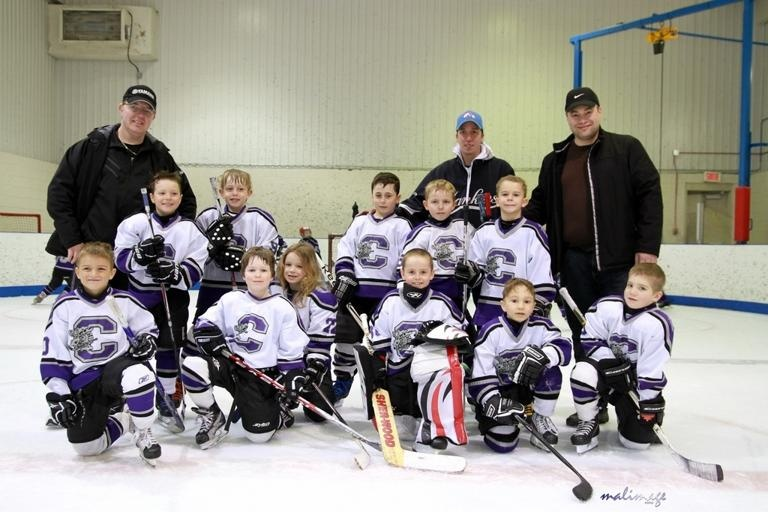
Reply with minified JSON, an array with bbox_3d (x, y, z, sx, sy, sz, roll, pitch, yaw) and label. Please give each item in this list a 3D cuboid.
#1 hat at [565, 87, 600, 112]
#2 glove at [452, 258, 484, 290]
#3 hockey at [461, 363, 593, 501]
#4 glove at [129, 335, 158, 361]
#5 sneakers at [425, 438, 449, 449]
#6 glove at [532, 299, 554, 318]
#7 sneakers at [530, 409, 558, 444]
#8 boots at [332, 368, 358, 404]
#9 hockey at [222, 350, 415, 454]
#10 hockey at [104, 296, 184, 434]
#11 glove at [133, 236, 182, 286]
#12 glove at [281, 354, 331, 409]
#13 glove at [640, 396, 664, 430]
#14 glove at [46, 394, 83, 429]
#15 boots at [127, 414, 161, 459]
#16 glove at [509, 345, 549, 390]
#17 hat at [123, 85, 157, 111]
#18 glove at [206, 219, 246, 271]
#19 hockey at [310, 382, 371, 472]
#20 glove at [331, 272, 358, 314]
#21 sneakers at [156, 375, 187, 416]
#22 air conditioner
[{"bbox_3d":[1.608,-1.259,5.624,0.254,0.185,0.301,4,15,15],"label":"hat"},{"bbox_3d":[0.658,0.140,5.435,0.166,0.241,0.260,12,18,38],"label":"glove"},{"bbox_3d":[1.061,1.283,4.928,0.219,0.206,1.094,2,16,-23],"label":"hockey"},{"bbox_3d":[-1.713,0.639,4.980,0.217,0.173,0.178,-11,19,-37],"label":"glove"},{"bbox_3d":[0.390,1.342,4.974,0.109,0.051,0.072,-1,-5,1],"label":"sneakers"},{"bbox_3d":[1.201,0.408,5.335,0.149,0.157,0.114,-16,24,-30],"label":"glove"},{"bbox_3d":[1.169,1.247,5.107,0.100,0.147,0.321,-10,13,-11],"label":"sneakers"},{"bbox_3d":[-0.382,1.100,5.734,0.111,0.238,0.328,3,-6,31],"label":"boots"},{"bbox_3d":[-0.496,1.098,5.147,1.044,0.132,0.076,37,15,5],"label":"hockey"},{"bbox_3d":[-1.748,0.770,5.150,0.452,1.079,0.416,-5,15,-18],"label":"hockey"},{"bbox_3d":[-1.674,0.062,5.296,0.368,0.278,0.166,41,-1,9],"label":"glove"},{"bbox_3d":[-0.573,0.973,5.182,0.372,0.405,0.178,-11,4,-27],"label":"glove"},{"bbox_3d":[1.918,1.130,4.967,0.175,0.242,0.229,0,-4,0],"label":"glove"},{"bbox_3d":[-2.188,1.116,4.760,0.202,0.107,0.118,19,-25,2],"label":"glove"},{"bbox_3d":[-1.674,1.290,4.955,0.150,0.241,0.467,-11,4,-27],"label":"boots"},{"bbox_3d":[1.049,0.794,4.991,0.218,0.294,0.119,10,-15,45],"label":"glove"},{"bbox_3d":[-1.971,-1.272,5.617,0.243,0.185,0.363,-3,15,-13],"label":"hat"},{"bbox_3d":[-1.273,-0.100,5.557,0.285,0.420,0.128,-2,14,-10],"label":"glove"},{"bbox_3d":[-0.271,1.242,5.064,0.724,0.265,0.120,46,-2,33],"label":"hockey"},{"bbox_3d":[-0.314,0.310,5.706,0.199,0.287,0.118,31,5,42],"label":"glove"},{"bbox_3d":[-1.635,1.088,5.429,0.129,0.299,0.405,2,-23,-14],"label":"sneakers"},{"bbox_3d":[-5.440,-4.293,13.436,2.136,1.039,0.464,3,14,11],"label":"air conditioner"}]
